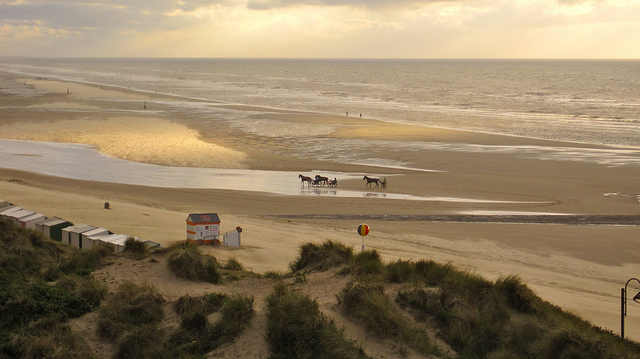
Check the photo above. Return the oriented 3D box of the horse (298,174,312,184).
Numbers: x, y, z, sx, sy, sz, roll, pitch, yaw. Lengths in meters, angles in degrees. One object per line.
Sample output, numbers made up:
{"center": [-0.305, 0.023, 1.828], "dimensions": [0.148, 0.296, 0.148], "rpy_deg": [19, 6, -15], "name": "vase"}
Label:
{"center": [-1.255, 0.008, 54.528], "dimensions": [0.733, 0.597, 1.336], "rpy_deg": [-11, 21, -34], "name": "horse"}
